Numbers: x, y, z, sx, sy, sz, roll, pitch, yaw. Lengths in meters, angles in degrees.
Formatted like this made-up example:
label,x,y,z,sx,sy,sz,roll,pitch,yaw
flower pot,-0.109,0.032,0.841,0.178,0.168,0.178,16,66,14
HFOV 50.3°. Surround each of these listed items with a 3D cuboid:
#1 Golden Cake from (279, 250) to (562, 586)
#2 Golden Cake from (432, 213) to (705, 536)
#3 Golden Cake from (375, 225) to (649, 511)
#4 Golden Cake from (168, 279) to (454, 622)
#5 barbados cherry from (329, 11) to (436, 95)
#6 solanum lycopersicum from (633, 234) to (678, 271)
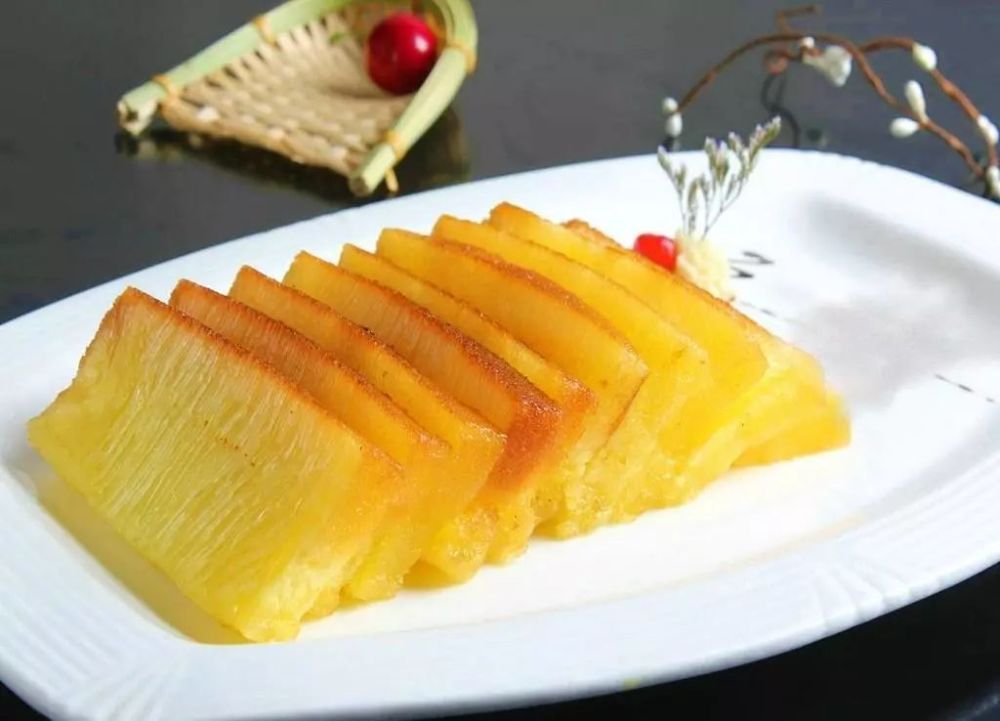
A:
label,x,y,z,sx,sy,sz,roll,pitch,yaw
Golden Cake,-0.102,0.072,2.680,0.200,0.760,0.698,-29,30,-26
Golden Cake,0.198,0.107,2.844,0.726,0.281,0.730,-18,48,-22
Golden Cake,0.068,-0.104,2.842,0.702,0.179,0.672,33,38,18
Golden Cake,-0.494,0.215,2.781,0.719,0.757,0.194,40,42,17
barbados cherry,-0.418,-1.310,4.559,0.275,0.381,0.303,7,13,16
solanum lycopersicum,0.538,-0.373,3.644,0.135,0.138,0.144,17,26,-2
